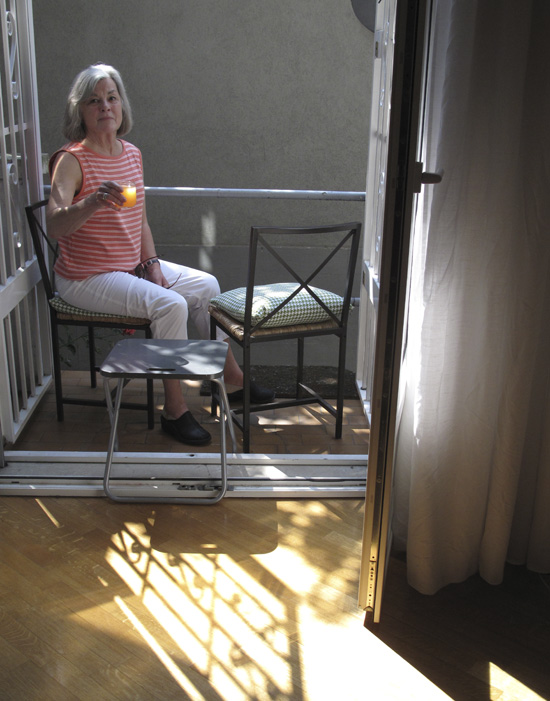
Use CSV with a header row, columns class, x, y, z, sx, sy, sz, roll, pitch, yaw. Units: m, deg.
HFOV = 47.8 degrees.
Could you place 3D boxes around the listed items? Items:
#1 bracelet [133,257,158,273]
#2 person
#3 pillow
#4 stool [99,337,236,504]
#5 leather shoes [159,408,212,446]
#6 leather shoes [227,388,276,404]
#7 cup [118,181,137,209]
class,x,y,z,sx,sy,sz,roll,pitch,yaw
bracelet,-0.549,-0.356,2.633,0.070,0.087,0.036,-2,-18,28
person,-0.451,-0.393,2.424,0.785,1.356,0.764,-3,15,-5
pillow,0.019,-0.191,2.364,0.430,0.154,0.353,-5,16,-23
stool,-0.306,0.215,1.901,0.463,0.450,0.471,2,8,-3
leather shoes,-0.344,0.271,2.348,0.085,0.094,0.232,-14,20,-40
leather shoes,-0.092,0.196,2.595,0.216,0.080,0.074,-2,7,-6
cup,-0.481,-0.514,2.064,0.060,0.067,0.063,4,27,-2
